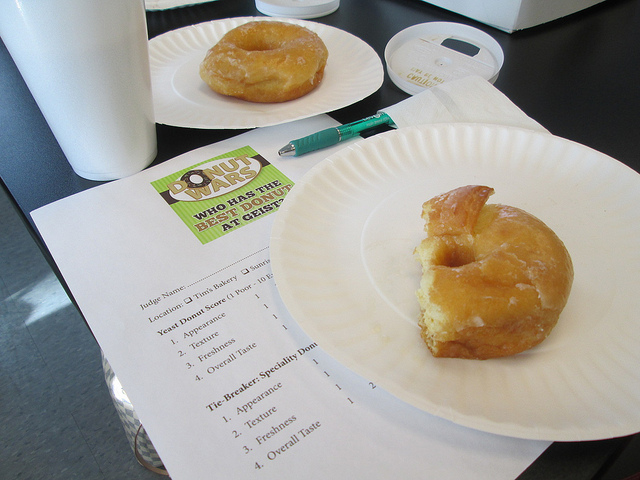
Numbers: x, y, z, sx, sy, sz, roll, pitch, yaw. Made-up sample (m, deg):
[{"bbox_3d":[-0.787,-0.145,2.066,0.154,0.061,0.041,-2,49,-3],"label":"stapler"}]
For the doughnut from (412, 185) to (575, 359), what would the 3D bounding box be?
[{"bbox_3d":[0.220,0.033,0.640,0.189,0.058,0.235,2,54,0],"label":"doughnut"}]

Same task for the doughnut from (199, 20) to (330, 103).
[{"bbox_3d":[-0.097,-0.360,0.972,0.208,0.072,0.245,26,57,16],"label":"doughnut"}]
